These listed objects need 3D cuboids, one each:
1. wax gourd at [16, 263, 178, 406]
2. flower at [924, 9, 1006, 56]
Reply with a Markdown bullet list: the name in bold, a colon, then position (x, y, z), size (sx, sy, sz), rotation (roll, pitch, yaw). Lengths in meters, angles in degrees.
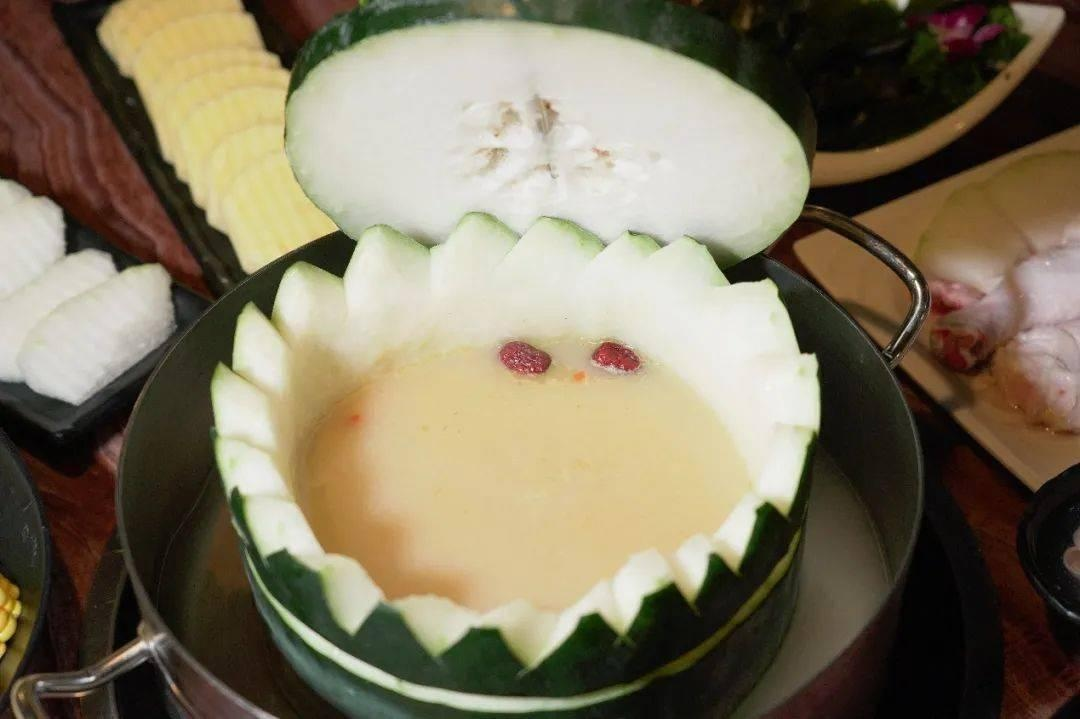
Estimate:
- **wax gourd**: position (-0.507, -0.036, 1.219), size (0.120, 0.035, 0.208), rotation (35, 47, 3)
- **flower**: position (0.509, -0.393, 1.259), size (0.082, 0.031, 0.066), rotation (-19, 93, -29)
